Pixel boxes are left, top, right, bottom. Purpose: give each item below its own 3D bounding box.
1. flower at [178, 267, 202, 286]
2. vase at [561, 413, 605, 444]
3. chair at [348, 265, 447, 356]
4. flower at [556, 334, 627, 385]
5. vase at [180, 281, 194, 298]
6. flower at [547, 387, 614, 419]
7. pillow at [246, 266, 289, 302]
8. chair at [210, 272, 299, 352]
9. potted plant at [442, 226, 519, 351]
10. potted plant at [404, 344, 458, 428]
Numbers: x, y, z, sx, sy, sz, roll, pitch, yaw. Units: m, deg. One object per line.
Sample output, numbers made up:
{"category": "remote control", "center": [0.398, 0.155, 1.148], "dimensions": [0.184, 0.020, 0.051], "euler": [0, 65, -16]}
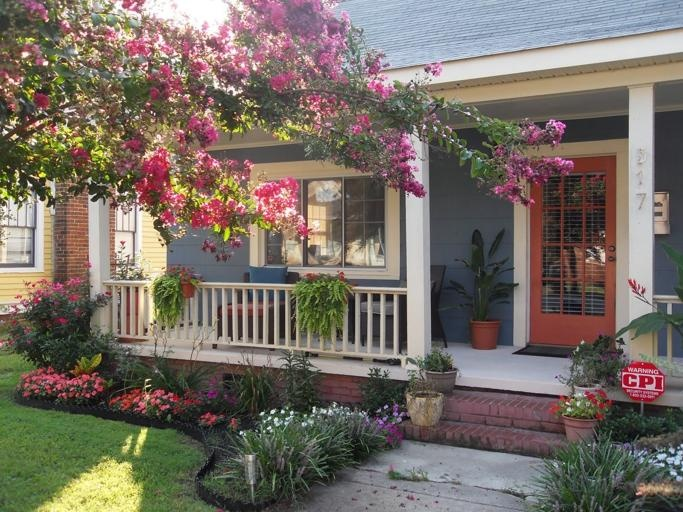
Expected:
{"category": "flower", "center": [-1.931, 0.273, 7.842], "dimensions": [0.222, 0.258, 0.261], "euler": [-1, 2, 7]}
{"category": "vase", "center": [2.148, 1.552, 5.511], "dimensions": [0.270, 0.196, 0.291], "euler": [0, -13, 8]}
{"category": "chair", "center": [0.541, 0.692, 7.707], "dimensions": [0.887, 1.421, 1.261], "euler": [-5, -13, 36]}
{"category": "flower", "center": [2.448, 1.038, 5.914], "dimensions": [0.524, 0.418, 0.510], "euler": [-5, 0, 10]}
{"category": "vase", "center": [-1.928, 0.421, 7.695], "dimensions": [0.158, 0.136, 0.167], "euler": [0, -5, -9]}
{"category": "flower", "center": [2.192, 1.348, 5.589], "dimensions": [0.318, 0.154, 0.358], "euler": [-1, 2, 18]}
{"category": "pillow", "center": [-0.988, 0.377, 8.261], "dimensions": [0.431, 0.434, 0.163], "euler": [-1, -21, 3]}
{"category": "chair", "center": [-1.233, 0.675, 8.544], "dimensions": [0.728, 0.983, 1.002], "euler": [1, 2, 16]}
{"category": "potted plant", "center": [1.869, 0.425, 8.064], "dimensions": [0.853, 1.570, 0.481], "euler": [0, -2, 16]}
{"category": "potted plant", "center": [0.894, 1.344, 6.340], "dimensions": [0.504, 0.735, 0.605], "euler": [0, -2, 27]}
